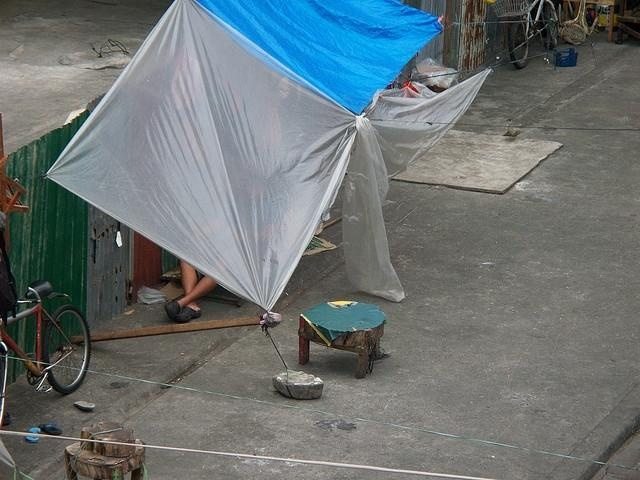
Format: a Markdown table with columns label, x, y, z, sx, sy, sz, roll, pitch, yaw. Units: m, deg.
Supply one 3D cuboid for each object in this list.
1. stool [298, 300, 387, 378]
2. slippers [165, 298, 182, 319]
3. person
| label | x | y | z | sx | sy | sz | roll | pitch | yaw |
| --- | --- | --- | --- | --- | --- | --- | --- | --- | --- |
| stool | 0.166 | 0.988 | 6.743 | 0.869 | 0.415 | 0.752 | 10 | 19 | 30 |
| slippers | -1.635 | 0.802 | 7.511 | 0.182 | 0.229 | 0.166 | -5 | 25 | -7 |
| person | -1.452 | 0.646 | 7.880 | 0.687 | 0.250 | 1.069 | -4 | 22 | 8 |
